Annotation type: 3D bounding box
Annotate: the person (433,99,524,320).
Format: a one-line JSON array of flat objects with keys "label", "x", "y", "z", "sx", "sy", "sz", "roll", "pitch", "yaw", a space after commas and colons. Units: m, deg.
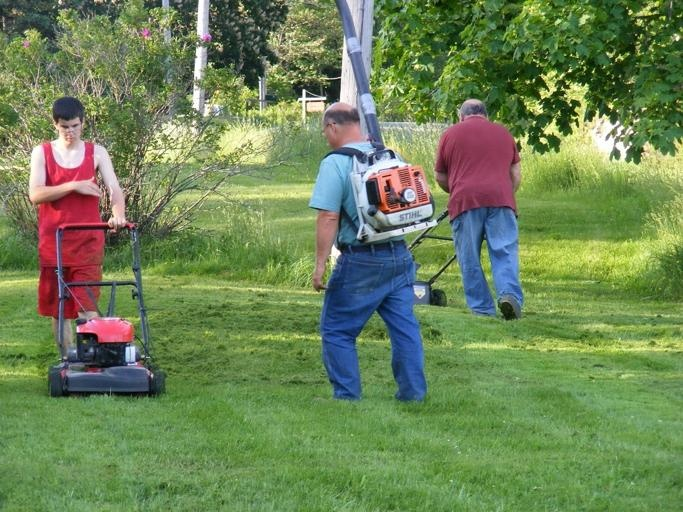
[{"label": "person", "x": 1.736, "y": -0.616, "z": 16.287, "sx": 1.040, "sy": 2.749, "sz": 0.647, "roll": 0, "pitch": 3, "yaw": 12}]
